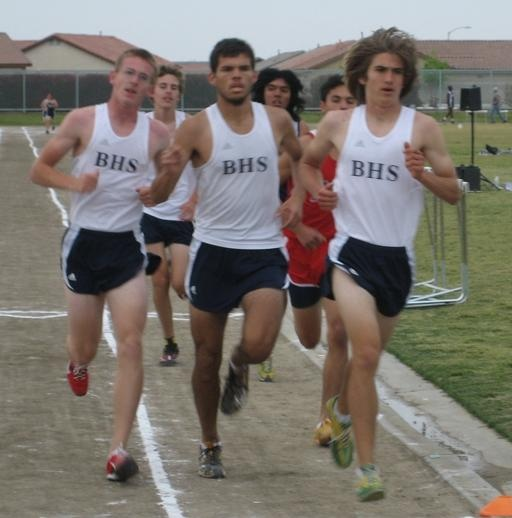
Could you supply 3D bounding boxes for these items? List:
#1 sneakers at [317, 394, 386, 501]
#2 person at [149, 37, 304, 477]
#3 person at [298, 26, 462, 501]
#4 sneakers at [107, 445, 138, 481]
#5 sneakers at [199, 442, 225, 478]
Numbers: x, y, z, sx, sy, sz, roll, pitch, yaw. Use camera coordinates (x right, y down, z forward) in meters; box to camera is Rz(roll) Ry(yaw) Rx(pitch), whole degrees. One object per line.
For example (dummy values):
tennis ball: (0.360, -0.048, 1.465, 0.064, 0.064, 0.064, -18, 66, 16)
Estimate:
sneakers: (0.482, 0.959, 4.286, 0.153, 0.197, 0.446, -2, 52, 0)
person: (-0.145, -0.029, 4.600, 0.831, 2.201, 0.661, 1, 9, -9)
person: (0.633, -0.177, 4.389, 0.720, 1.939, 1.068, 2, 9, -5)
sneakers: (-0.651, 1.005, 4.331, 0.154, 0.183, 0.170, 1, 9, -9)
sneakers: (-0.224, 1.019, 4.521, 0.132, 0.161, 0.176, 2, 9, -3)
